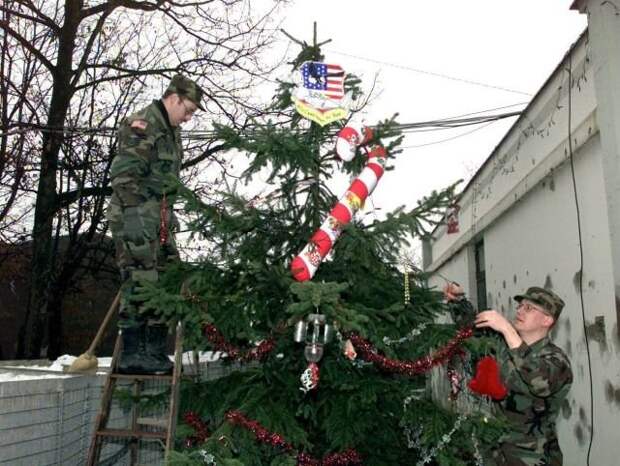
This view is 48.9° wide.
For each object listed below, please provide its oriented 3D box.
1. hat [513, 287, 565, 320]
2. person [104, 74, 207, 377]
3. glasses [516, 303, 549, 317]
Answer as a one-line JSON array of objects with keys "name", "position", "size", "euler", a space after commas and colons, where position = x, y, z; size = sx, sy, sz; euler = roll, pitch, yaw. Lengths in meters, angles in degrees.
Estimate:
[{"name": "hat", "position": [2.545, 0.745, 7.398], "size": [0.457, 0.176, 0.355], "euler": [26, -7, 7]}, {"name": "person", "position": [-1.778, -0.109, 7.413], "size": [0.858, 3.128, 1.074], "euler": [5, -21, -17]}, {"name": "glasses", "position": [2.441, 0.836, 7.346], "size": [0.172, 0.051, 0.167], "euler": [26, -17, -15]}]
